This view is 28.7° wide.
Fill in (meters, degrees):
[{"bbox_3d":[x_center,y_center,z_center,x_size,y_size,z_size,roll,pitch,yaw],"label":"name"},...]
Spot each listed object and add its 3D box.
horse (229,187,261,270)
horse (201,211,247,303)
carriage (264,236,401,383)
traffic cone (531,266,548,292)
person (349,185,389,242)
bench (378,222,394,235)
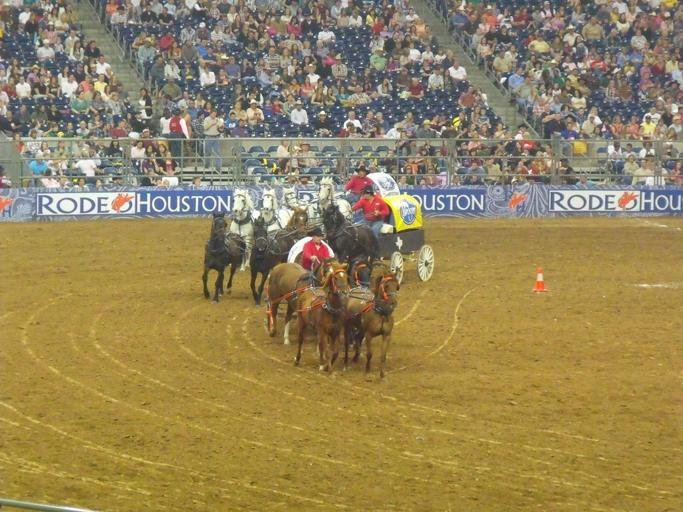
[{"bbox_3d":[-2.651,-0.699,37.411,0.856,2.314,0.804,1,16,-9],"label":"horse"},{"bbox_3d":[-3.266,-0.073,37.242,1.208,2.390,2.356,-2,7,-4],"label":"horse"},{"bbox_3d":[-0.687,1.219,32.545,1.208,2.613,5.222,0,7,-44],"label":"carriage"},{"bbox_3d":[5.558,0.708,37.758,0.608,0.757,0.626,-1,1,-4],"label":"traffic cone"},{"bbox_3d":[0.824,-1.220,37.314,0.903,1.460,0.796,14,20,42],"label":"person"},{"bbox_3d":[1.255,-0.758,37.244,0.285,0.245,0.367,-4,5,-38],"label":"bench"}]
